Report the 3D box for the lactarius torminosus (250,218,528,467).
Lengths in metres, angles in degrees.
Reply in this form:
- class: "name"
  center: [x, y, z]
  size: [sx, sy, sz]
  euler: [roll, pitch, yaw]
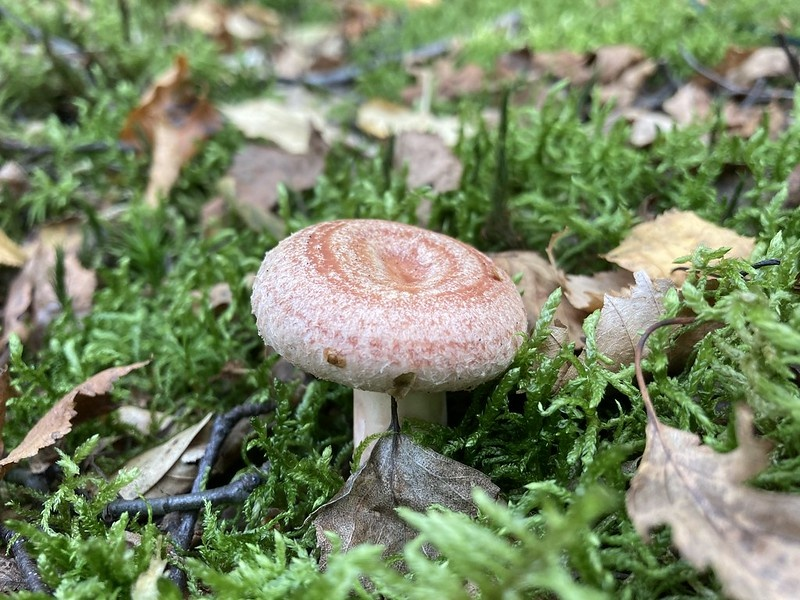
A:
- class: "lactarius torminosus"
  center: [-0.035, 0.007, 2.435]
  size: [0.763, 0.244, 0.653]
  euler: [-21, 56, -14]
